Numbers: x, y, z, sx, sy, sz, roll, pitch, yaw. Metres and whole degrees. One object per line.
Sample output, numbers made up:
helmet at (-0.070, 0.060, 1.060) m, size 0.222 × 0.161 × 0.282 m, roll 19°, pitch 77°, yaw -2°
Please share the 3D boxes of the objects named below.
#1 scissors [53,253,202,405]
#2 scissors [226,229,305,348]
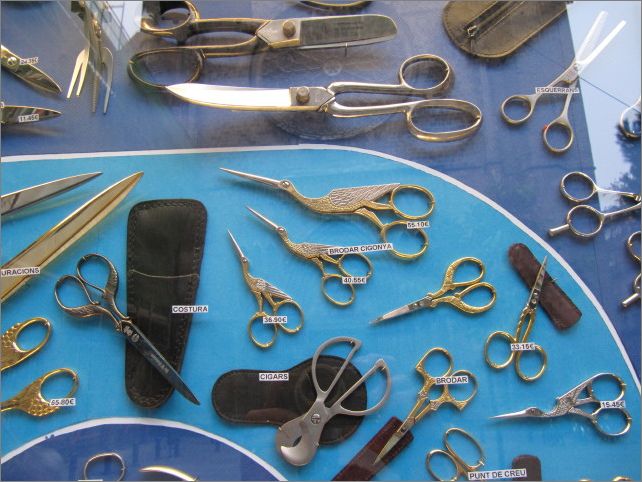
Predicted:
scissors at (-0.662, 0.281, 2.325) m, size 0.741 × 0.265 × 0.065 m, roll 50°, pitch -8°, yaw 6°
scissors at (-0.183, 0.158, 2.227) m, size 0.264 × 0.381 × 0.080 m, roll 1°, pitch 2°, yaw 23°
